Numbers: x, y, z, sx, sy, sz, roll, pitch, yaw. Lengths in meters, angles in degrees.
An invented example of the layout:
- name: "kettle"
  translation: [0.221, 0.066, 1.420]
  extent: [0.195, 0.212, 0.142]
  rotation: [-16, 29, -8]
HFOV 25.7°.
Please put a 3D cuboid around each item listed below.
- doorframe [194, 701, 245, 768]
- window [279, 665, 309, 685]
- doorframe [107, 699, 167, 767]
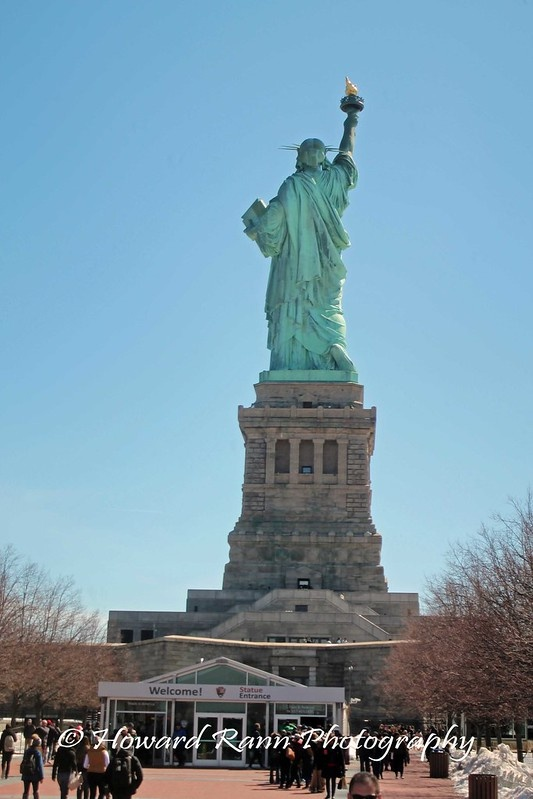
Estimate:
- name: "doorframe"
  translation: [-1.490, 10.164, 35.702]
  extent: [2.178, 2.395, 0.269]
  rotation: [2, 13, 7]
- name: "window"
  translation: [1.238, 12.406, 52.960]
  extent: [1.449, 1.299, 0.783]
  rotation: [0, -14, 0]
- name: "doorframe"
  translation: [-3.518, 10.214, 35.740]
  extent: [2.562, 2.809, 0.140]
  rotation: [1, 20, -3]
